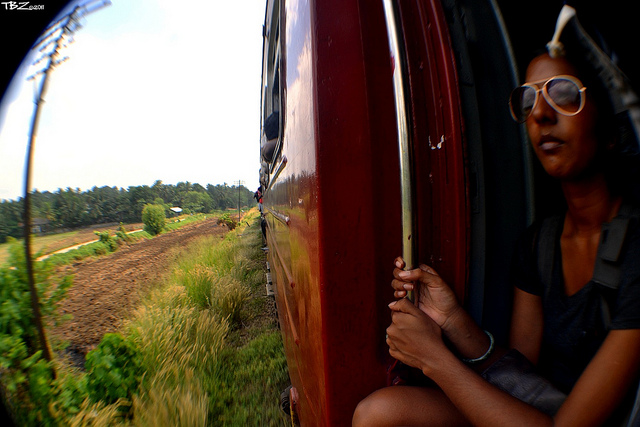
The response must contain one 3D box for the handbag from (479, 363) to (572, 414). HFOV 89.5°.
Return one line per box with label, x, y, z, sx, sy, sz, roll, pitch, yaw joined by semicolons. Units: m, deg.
handbag;1.059;0.880;1.657;0.338;0.097;0.214;24;-4;14
